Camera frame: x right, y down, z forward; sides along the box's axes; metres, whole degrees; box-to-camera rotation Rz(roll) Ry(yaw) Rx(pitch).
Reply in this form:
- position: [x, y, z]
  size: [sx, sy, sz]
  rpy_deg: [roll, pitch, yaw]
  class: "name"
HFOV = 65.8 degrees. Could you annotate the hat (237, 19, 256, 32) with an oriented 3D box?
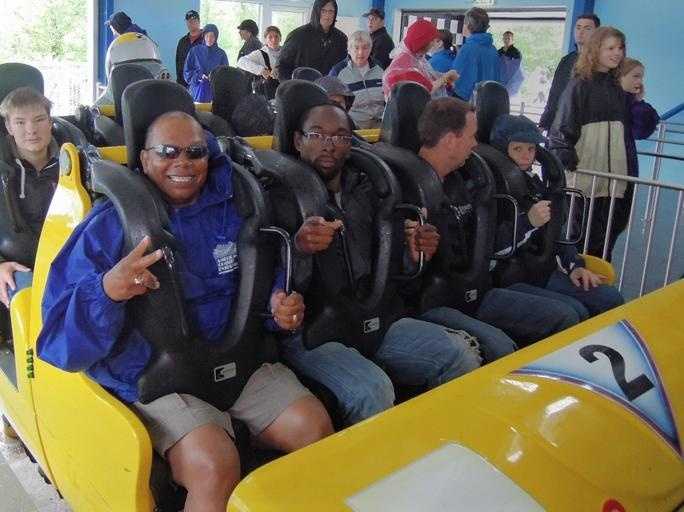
- position: [-1.380, -3.321, 7.657]
  size: [0.223, 0.126, 0.169]
  rpy_deg: [22, 39, -8]
  class: "hat"
